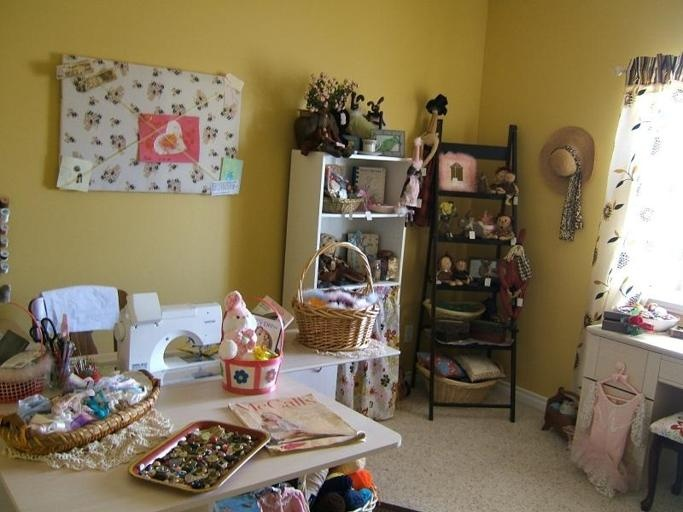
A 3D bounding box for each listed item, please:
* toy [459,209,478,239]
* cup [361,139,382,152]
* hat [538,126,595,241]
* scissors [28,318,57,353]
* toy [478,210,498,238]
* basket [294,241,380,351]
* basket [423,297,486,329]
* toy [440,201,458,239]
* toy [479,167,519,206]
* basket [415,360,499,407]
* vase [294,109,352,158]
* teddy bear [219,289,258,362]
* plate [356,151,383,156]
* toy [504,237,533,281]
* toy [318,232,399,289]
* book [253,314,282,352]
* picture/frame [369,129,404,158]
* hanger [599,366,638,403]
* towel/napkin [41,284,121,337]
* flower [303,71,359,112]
[{"bbox_3d":[0.966,-0.238,3.983,0.126,0.174,0.238,2,13,0],"label":"toy"},{"bbox_3d":[0.212,-0.753,3.579,0.113,0.088,0.075,-2,5,-18],"label":"cup"},{"bbox_3d":[1.635,-0.538,3.724,0.359,0.729,0.140,3,9,41],"label":"hat"},{"bbox_3d":[-1.235,0.328,2.155,0.128,0.136,0.041,30,29,17],"label":"scissors"},{"bbox_3d":[1.120,-0.246,3.983,0.135,0.182,0.224,6,13,15],"label":"toy"},{"bbox_3d":[-0.067,0.193,2.844,0.463,0.660,0.512,-1,4,-27],"label":"basket"},{"bbox_3d":[0.905,0.423,4.033,0.303,0.109,0.233,1,13,-13],"label":"basket"},{"bbox_3d":[0.839,-0.297,4.098,0.133,0.285,0.482,5,13,12],"label":"toy"},{"bbox_3d":[1.196,-0.539,3.978,0.205,0.244,0.394,12,2,-29],"label":"toy"},{"bbox_3d":[0.916,0.959,3.918,0.373,0.150,0.360,3,0,-15],"label":"basket"},{"bbox_3d":[-0.117,-0.784,3.387,0.258,0.267,0.352,2,10,-32],"label":"vase"},{"bbox_3d":[-0.432,0.298,2.194,0.172,0.295,0.174,10,-6,-38],"label":"teddy bear"},{"bbox_3d":[0.192,-0.701,3.588,0.221,0.037,0.072,-7,16,-34],"label":"plate"},{"bbox_3d":[1.324,0.017,3.893,0.215,0.295,0.101,-27,1,5],"label":"toy"},{"bbox_3d":[0.075,0.013,3.774,0.641,0.351,0.426,-2,20,-24],"label":"toy"},{"bbox_3d":[-0.326,0.346,2.318,0.131,0.164,0.021,-7,-16,26],"label":"book"},{"bbox_3d":[0.310,-0.786,3.657,0.202,0.185,0.018,-1,0,-19],"label":"picture/frame"},{"bbox_3d":[1.663,0.764,3.102,0.037,0.139,0.212,-1,9,-26],"label":"hanger"},{"bbox_3d":[-1.342,0.258,2.710,0.302,0.331,0.118,1,-6,-32],"label":"towel/napkin"},{"bbox_3d":[-0.079,-1.078,3.467,0.328,0.248,0.313,-1,13,-28],"label":"flower"}]
